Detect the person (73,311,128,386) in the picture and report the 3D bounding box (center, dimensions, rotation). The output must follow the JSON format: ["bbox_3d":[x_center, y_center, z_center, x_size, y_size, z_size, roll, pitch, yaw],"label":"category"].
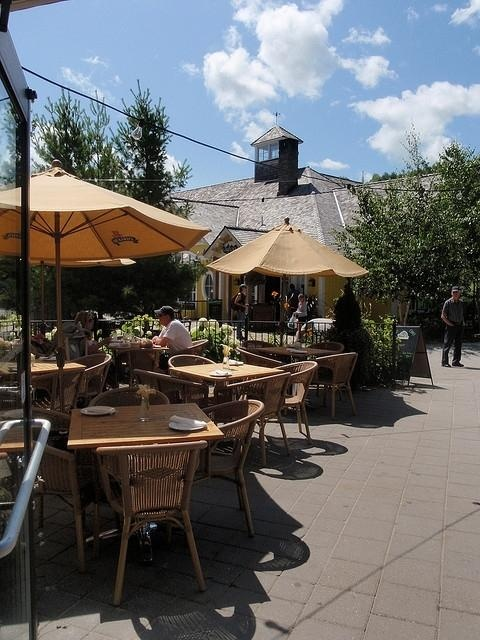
[{"bbox_3d":[-2.047,0.473,7.296,0.693,1.163,0.570,-4,-10,-24],"label":"person"}]
